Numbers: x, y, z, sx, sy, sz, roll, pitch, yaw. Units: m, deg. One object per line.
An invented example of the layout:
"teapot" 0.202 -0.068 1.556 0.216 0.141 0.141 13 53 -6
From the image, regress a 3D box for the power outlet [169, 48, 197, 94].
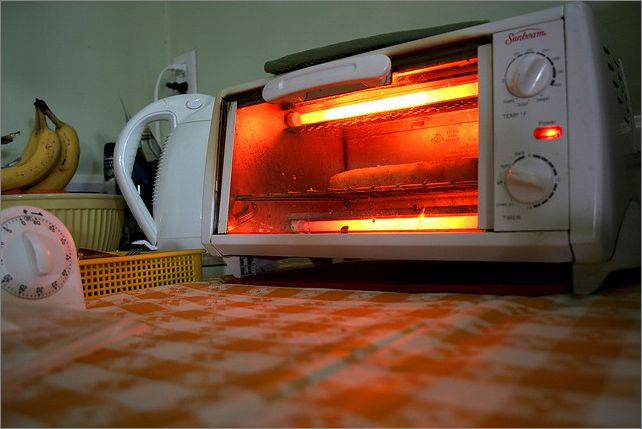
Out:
"power outlet" -0.517 -0.541 1.733 0.131 0.164 0.029 0 5 39
